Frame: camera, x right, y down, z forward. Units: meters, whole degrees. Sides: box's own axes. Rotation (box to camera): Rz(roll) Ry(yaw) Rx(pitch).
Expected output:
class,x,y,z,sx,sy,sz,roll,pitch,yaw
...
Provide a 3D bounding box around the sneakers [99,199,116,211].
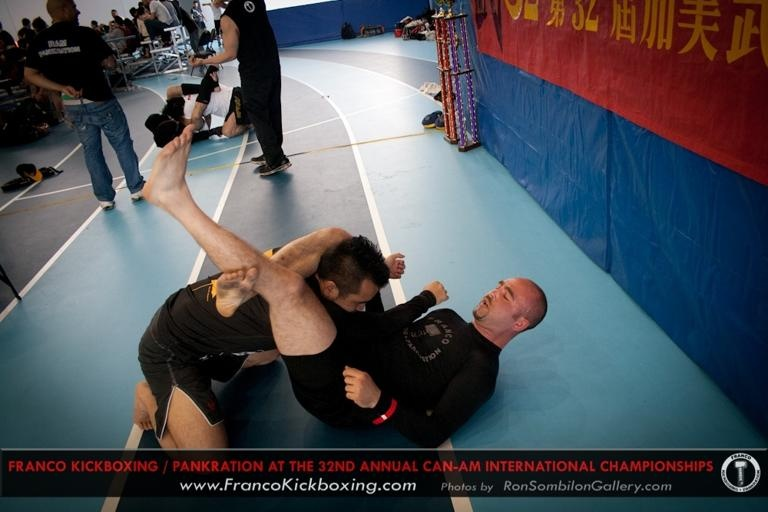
class,x,y,z,sx,sy,sz,roll,pitch,yaw
sneakers,-5.087,-0.937,8.028,0.180,0.189,0.429,-8,9,-29

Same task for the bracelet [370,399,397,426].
class,x,y,z,sx,sy,sz,roll,pitch,yaw
bracelet,0.011,1.176,3.310,0.223,0.215,0.079,-19,33,-14
